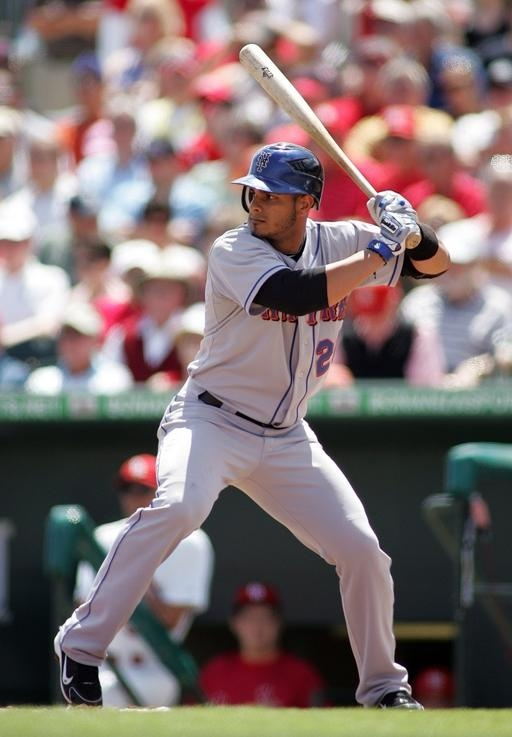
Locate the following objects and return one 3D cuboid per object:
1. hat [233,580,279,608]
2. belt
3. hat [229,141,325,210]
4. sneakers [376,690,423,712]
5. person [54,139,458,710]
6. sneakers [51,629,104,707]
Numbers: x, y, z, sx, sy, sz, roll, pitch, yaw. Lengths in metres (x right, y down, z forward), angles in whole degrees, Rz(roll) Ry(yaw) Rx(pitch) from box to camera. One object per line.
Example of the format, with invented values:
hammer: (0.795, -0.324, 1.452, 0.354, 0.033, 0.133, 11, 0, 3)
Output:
hat: (0.000, 0.866, 4.076, 0.113, 0.036, 0.112, 7, 15, 25)
belt: (-0.053, 0.127, 3.054, 0.182, 0.036, 0.128, 22, -1, -3)
hat: (0.063, -0.541, 3.050, 0.249, 0.175, 0.177, 6, 5, -32)
sneakers: (0.383, 0.887, 2.862, 0.059, 0.040, 0.116, 5, -14, -41)
person: (-0.041, 0.175, 2.946, 1.180, 1.532, 0.722, -10, 16, -18)
sneakers: (-0.472, 0.826, 2.878, 0.094, 0.230, 0.111, -2, -12, -28)
